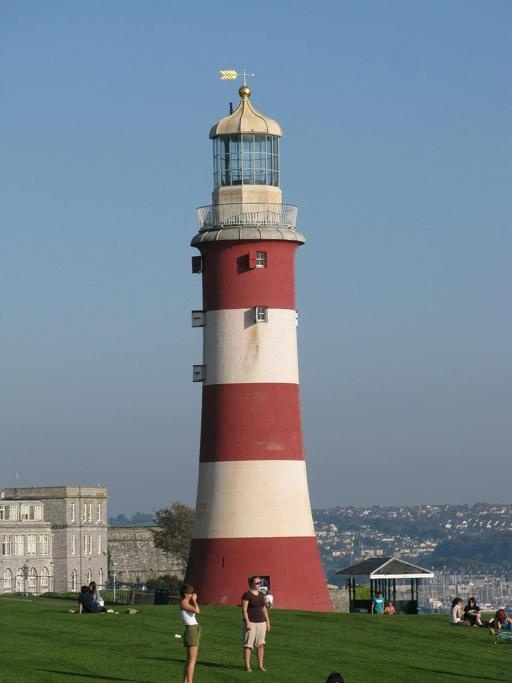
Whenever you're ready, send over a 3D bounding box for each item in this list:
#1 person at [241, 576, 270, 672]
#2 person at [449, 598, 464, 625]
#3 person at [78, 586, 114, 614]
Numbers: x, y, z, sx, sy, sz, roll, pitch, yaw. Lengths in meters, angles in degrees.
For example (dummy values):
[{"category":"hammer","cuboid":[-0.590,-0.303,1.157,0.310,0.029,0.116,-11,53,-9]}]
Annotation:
[{"category":"person","cuboid":[-0.031,6.133,37.892,0.535,2.043,1.260,0,-10,0]},{"category":"person","cuboid":[5.820,7.775,50.525,0.394,0.807,1.261,-2,-10,7]},{"category":"person","cuboid":[-4.494,7.098,48.317,0.943,0.823,1.184,-2,-10,6]}]
